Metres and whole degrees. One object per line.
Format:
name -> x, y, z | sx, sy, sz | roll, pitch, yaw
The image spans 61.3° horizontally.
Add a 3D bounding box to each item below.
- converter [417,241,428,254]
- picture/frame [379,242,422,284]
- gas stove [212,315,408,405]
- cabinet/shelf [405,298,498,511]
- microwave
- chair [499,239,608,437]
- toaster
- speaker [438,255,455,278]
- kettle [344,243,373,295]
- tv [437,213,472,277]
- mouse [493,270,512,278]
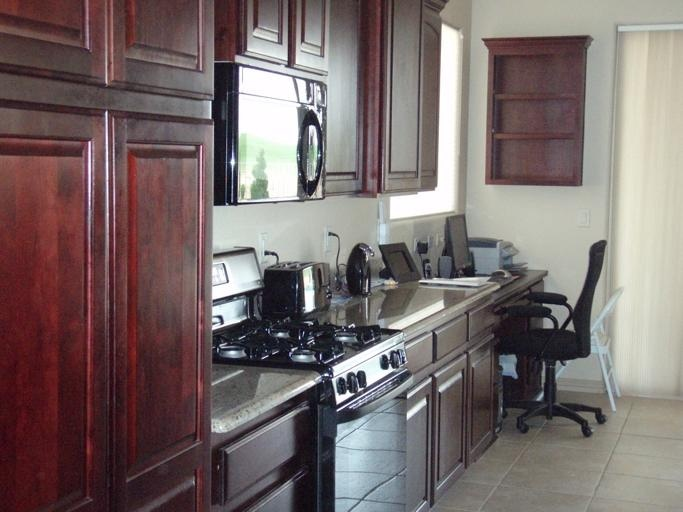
converter -> 0.617, -0.058, 4.396 | 0.079, 0.114, 0.113 | 0, 3, 6
picture/frame -> 0.381, 0.050, 3.855 | 0.213, 0.239, 0.089 | -16, -10, -39
gas stove -> -0.136, 0.409, 2.230 | 0.767, 0.237, 0.778 | -1, 2, 6
cabinet/shelf -> 0.565, 0.790, 3.022 | 0.337, 0.731, 1.005 | -1, 7, 23
microwave -> -0.279, -0.467, 2.275 | 0.135, 0.519, 0.659 | 2, 6, 28
chair -> 1.533, 0.570, 4.187 | 0.643, 1.364, 1.075 | 4, 7, 38
toaster -> -0.205, 0.156, 2.683 | 0.169, 0.253, 0.424 | 2, 6, 20
speaker -> 0.783, 0.081, 4.231 | 0.147, 0.157, 0.179 | -1, 5, -3
kettle -> 0.102, 0.075, 3.335 | 0.152, 0.288, 0.183 | 0, 5, 1
tv -> 0.873, -0.065, 4.490 | 0.224, 0.510, 0.452 | -1, 6, 20
mouse -> 1.225, 0.132, 4.396 | 0.090, 0.036, 0.068 | 0, 2, 36
